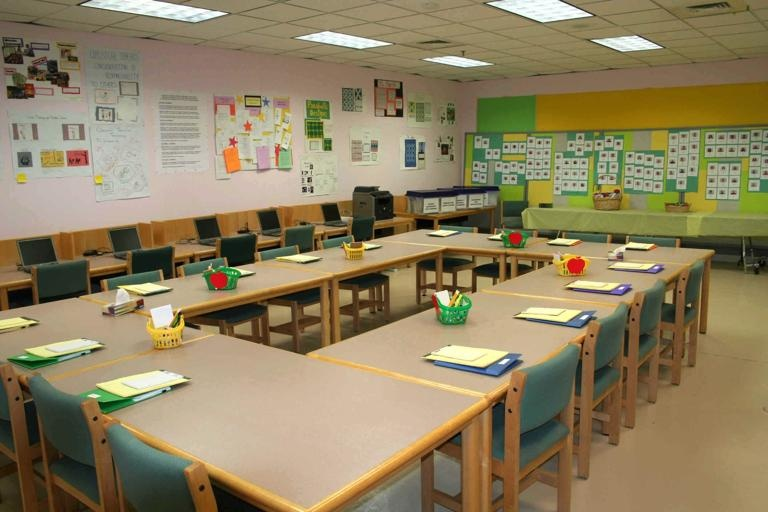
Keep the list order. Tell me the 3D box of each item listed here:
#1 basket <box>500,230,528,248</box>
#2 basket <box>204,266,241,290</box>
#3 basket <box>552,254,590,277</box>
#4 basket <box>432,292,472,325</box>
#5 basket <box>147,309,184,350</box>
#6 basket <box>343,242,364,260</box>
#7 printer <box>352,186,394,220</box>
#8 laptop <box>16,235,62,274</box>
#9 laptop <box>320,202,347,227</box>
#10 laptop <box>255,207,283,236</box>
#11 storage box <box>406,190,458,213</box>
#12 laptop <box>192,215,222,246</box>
[{"bbox_3d":[1.366,-0.169,5.706,0.210,0.116,0.214,0,-2,3],"label":"basket"},{"bbox_3d":[-1.278,0.177,4.259,0.222,0.105,0.192,-1,1,10],"label":"basket"},{"bbox_3d":[1.591,0.080,4.653,0.221,0.120,0.240,0,0,2],"label":"basket"},{"bbox_3d":[0.458,0.359,3.666,0.219,0.163,0.242,-1,-3,-1],"label":"basket"},{"bbox_3d":[-1.321,0.458,3.286,0.208,0.176,0.220,-1,-1,-15],"label":"basket"},{"bbox_3d":[-0.287,-0.053,5.241,0.148,0.107,0.183,-1,-1,-1],"label":"basket"},{"bbox_3d":[-0.189,-0.745,8.538,0.571,0.654,0.701,2,4,31],"label":"printer"},{"bbox_3d":[-3.544,-0.056,5.582,0.408,0.338,0.491,13,13,32],"label":"laptop"},{"bbox_3d":[-0.763,-0.619,8.007,0.304,0.333,0.435,0,6,39],"label":"laptop"},{"bbox_3d":[-1.559,-0.455,7.290,0.328,0.362,0.451,9,18,32],"label":"laptop"},{"bbox_3d":[0.824,-0.928,9.307,0.835,0.383,0.438,-2,11,3],"label":"storage box"},{"bbox_3d":[-2.190,-0.304,6.680,0.338,0.272,0.397,14,10,26],"label":"laptop"}]
